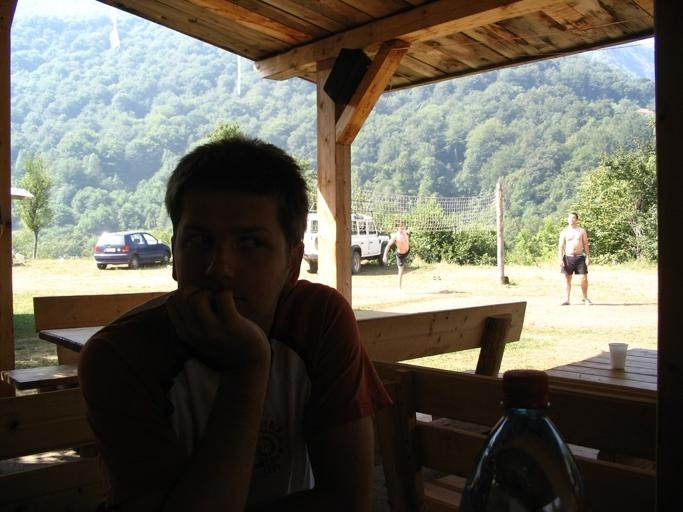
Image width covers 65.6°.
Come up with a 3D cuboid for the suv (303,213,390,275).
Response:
[{"bbox_3d":[0.394,-0.414,20.115,1.821,1.962,3.609,3,7,33],"label":"suv"}]

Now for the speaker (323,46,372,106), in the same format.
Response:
[{"bbox_3d":[0.055,-1.915,5.538,0.447,0.505,0.328,6,-4,44],"label":"speaker"}]
